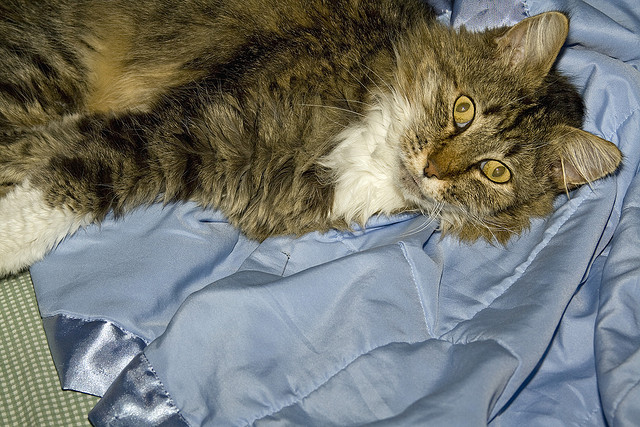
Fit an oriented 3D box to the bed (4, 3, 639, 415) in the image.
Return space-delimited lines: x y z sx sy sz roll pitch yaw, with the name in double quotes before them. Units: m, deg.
"bed" 0.051 0.426 3.221 2.024 0.260 2.040 -1 71 -3
